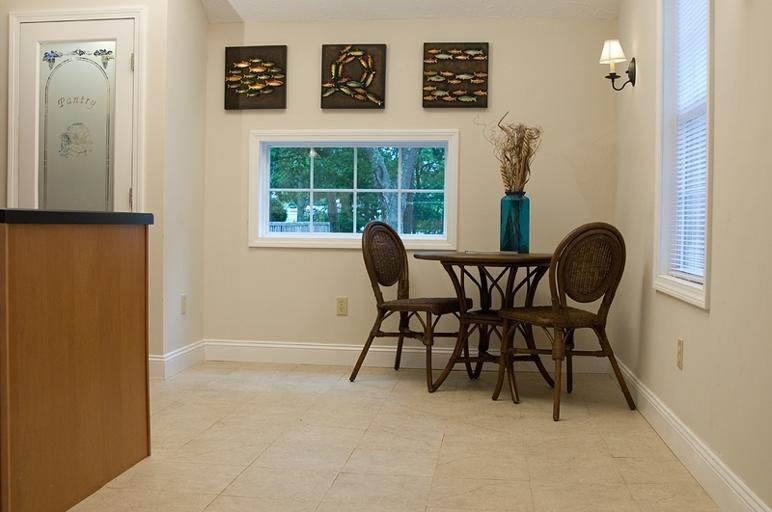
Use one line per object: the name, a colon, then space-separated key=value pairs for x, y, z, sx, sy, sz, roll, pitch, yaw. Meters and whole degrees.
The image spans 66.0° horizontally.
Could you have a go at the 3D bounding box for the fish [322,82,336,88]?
fish: x=-0.446 y=-1.330 z=4.617 sx=0.070 sy=0.042 sz=0.027 roll=2 pitch=3 yaw=7

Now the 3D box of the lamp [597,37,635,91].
lamp: x=1.542 y=-1.277 z=4.005 sx=0.227 sy=0.329 sz=0.168 roll=1 pitch=19 yaw=23
